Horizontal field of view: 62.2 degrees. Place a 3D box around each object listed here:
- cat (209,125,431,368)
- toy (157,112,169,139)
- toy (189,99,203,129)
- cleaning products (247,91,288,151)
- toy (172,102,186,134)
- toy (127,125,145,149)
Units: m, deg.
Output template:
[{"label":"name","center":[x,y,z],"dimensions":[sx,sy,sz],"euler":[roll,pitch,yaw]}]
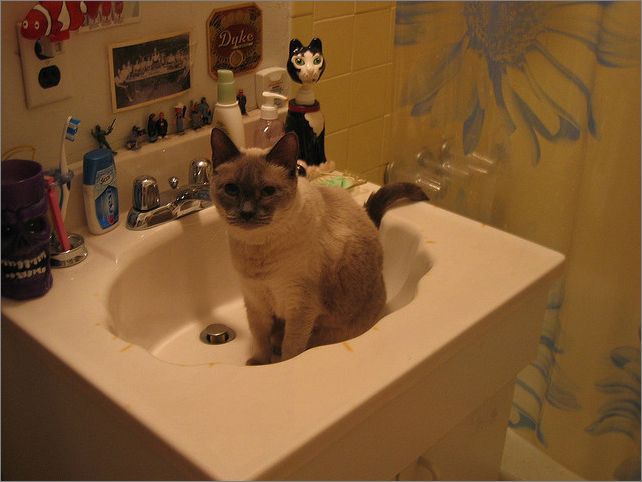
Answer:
[{"label":"cat","center":[-0.016,0.008,1.119],"dimensions":[0.225,0.513,0.505],"euler":[16,23,41]},{"label":"toy","center":[-0.355,-0.260,1.200],"dimensions":[0.015,0.054,0.036],"euler":[4,27,12]},{"label":"toy","center":[-0.293,-0.296,1.251],"dimensions":[0.023,0.061,0.036],"euler":[9,29,22]},{"label":"cleaning products","center":[-0.121,-0.265,1.251],"dimensions":[0.058,0.162,0.078],"euler":[17,25,34]},{"label":"toy","center":[-0.326,-0.283,1.229],"dimensions":[0.022,0.065,0.042],"euler":[2,27,8]},{"label":"toy","center":[-0.404,-0.227,1.160],"dimensions":[0.021,0.041,0.033],"euler":[37,46,10]}]
